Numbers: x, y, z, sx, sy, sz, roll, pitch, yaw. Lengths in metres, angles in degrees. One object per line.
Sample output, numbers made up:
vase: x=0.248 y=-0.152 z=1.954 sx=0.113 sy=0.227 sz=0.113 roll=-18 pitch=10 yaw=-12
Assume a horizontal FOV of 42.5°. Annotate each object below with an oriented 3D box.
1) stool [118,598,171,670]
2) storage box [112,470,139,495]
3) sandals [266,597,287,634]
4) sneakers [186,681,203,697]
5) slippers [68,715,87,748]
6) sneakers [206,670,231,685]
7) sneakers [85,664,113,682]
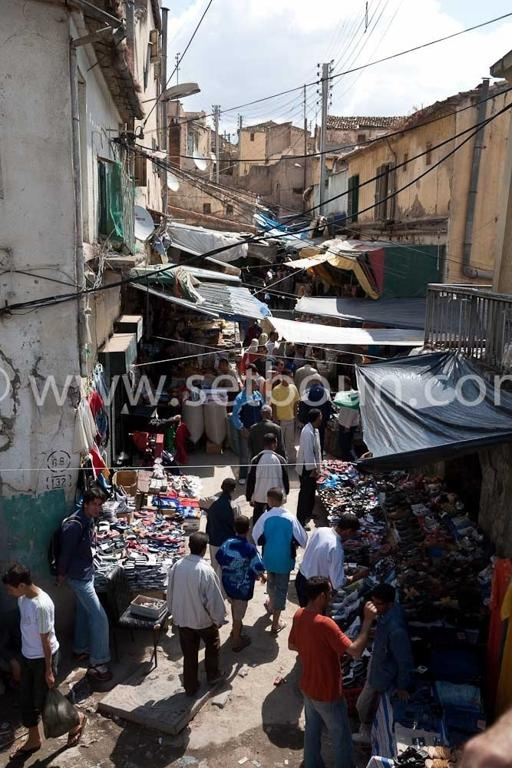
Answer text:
stool: x=-0.911 y=2.017 z=5.556 sx=0.372 sy=0.446 sz=0.569 roll=4 pitch=5 yaw=4
storage box: x=-1.532 y=1.174 z=7.844 sx=0.230 sy=0.257 sz=0.293 roll=1 pitch=-12 yaw=5
sandals: x=0.185 y=2.135 z=6.029 sx=0.116 sy=0.285 sz=0.251 roll=-1 pitch=24 yaw=10
sneakers: x=-0.465 y=2.284 z=4.988 sx=0.056 sy=0.121 sz=0.124 roll=9 pitch=24 yaw=22
slippers: x=-1.235 y=2.438 z=4.595 sx=0.075 sy=0.218 sz=0.055 roll=12 pitch=-4 yaw=19
sneakers: x=-0.296 y=2.321 z=5.231 sx=0.070 sy=0.093 sz=0.212 roll=4 pitch=5 yaw=29
sneakers: x=-1.218 y=2.292 z=5.216 sx=0.177 sy=0.068 sz=0.098 roll=3 pitch=5 yaw=30
